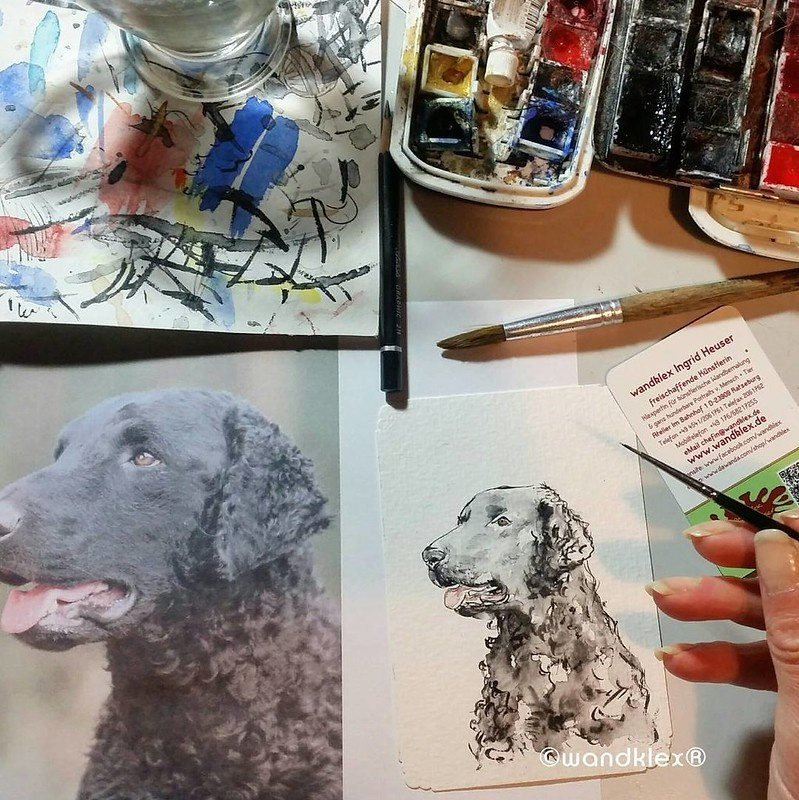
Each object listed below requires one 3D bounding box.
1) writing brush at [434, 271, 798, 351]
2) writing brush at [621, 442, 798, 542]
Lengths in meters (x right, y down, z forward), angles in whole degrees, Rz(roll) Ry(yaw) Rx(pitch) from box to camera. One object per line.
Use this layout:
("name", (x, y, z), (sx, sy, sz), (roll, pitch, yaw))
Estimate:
("writing brush", (0.171, -0.071, 0.813), (0.313, 0.027, 0.023), (-7, 20, -6))
("writing brush", (0.245, 0.077, 0.785), (0.163, 0.016, 0.017), (24, -6, -2))
